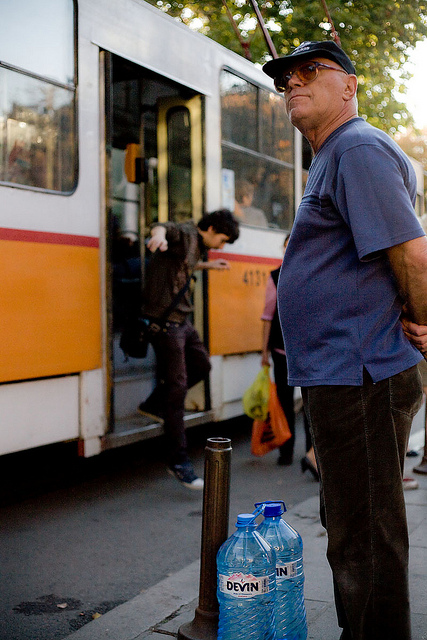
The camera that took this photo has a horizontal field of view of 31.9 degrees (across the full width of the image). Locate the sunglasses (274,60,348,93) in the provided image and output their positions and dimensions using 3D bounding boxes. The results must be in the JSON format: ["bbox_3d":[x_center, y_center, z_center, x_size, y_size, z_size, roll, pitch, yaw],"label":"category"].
[{"bbox_3d":[0.295,-0.771,2.414,0.200,0.100,0.103,8,14,34],"label":"sunglasses"}]
